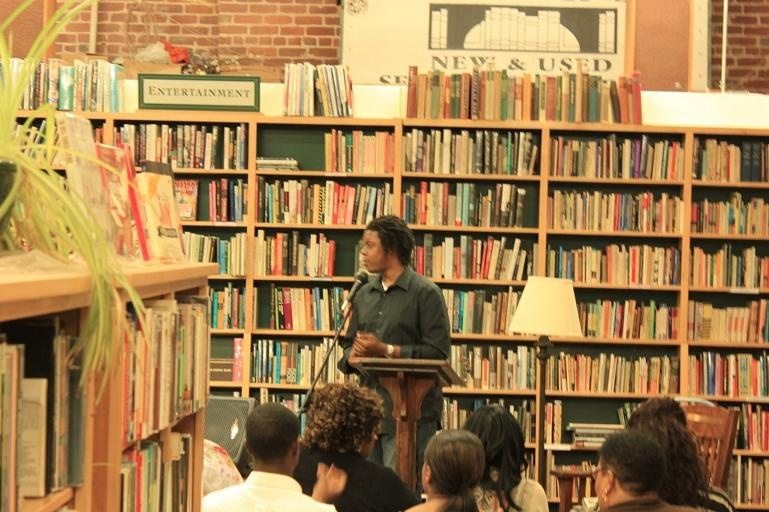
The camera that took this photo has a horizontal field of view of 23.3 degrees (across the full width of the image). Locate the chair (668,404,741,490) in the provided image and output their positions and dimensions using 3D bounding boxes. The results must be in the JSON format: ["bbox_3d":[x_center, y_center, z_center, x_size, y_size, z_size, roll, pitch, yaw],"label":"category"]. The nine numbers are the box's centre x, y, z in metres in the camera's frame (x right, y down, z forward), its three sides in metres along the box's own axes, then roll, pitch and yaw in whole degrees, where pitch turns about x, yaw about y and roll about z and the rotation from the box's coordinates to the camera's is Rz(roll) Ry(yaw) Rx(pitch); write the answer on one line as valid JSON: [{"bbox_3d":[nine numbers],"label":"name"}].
[{"bbox_3d":[2.597,1.524,15.060,0.460,0.665,0.298,3,-2,20],"label":"chair"}]

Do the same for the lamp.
[{"bbox_3d":[1.339,1.021,15.308,0.549,1.124,0.953,3,-2,12],"label":"lamp"}]

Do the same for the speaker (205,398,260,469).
[{"bbox_3d":[-1.201,1.406,14.645,0.482,0.732,0.394,1,-36,0],"label":"speaker"}]
